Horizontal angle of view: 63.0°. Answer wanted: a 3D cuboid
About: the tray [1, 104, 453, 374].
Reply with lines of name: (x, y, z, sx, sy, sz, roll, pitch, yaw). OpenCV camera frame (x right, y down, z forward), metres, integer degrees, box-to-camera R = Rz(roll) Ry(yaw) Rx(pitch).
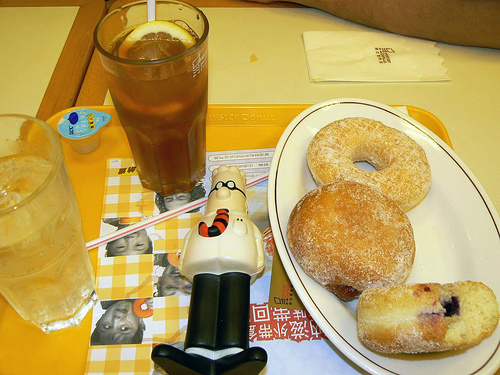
tray: (-0.242, 0.027, 1.161, 0.769, 0.696, 0.731, -7, 18, -22)

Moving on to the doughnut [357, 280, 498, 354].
doughnut: (0.324, 0.234, 0.743, 0.246, 0.083, 0.112, 1, 57, -3)

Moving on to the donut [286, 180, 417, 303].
donut: (0.205, 0.112, 0.837, 0.264, 0.112, 0.286, -8, 49, -5)

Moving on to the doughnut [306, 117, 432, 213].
doughnut: (0.269, -0.057, 0.965, 0.269, 0.084, 0.275, -8, 53, -13)

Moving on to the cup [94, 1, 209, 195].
cup: (-0.185, -0.197, 0.910, 0.216, 0.337, 0.290, -18, 59, -14)
